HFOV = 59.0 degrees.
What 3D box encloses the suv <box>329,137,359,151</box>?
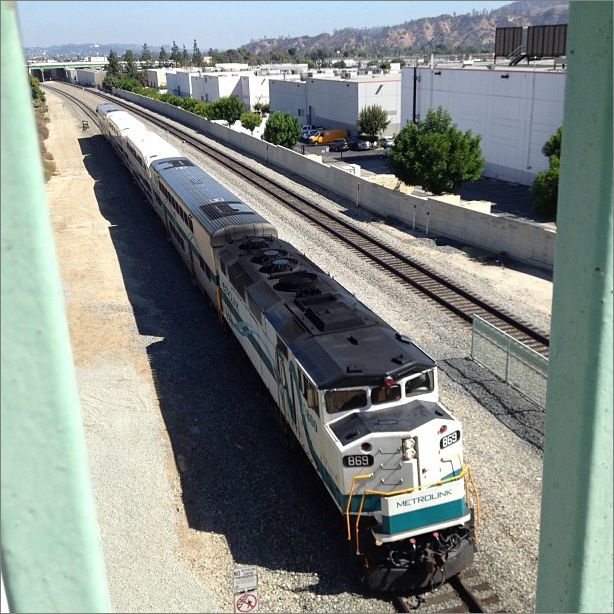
[{"bbox_3d":[4.587,-21.159,70.300,2.083,1.004,2.856,4,15,30],"label":"suv"}]
